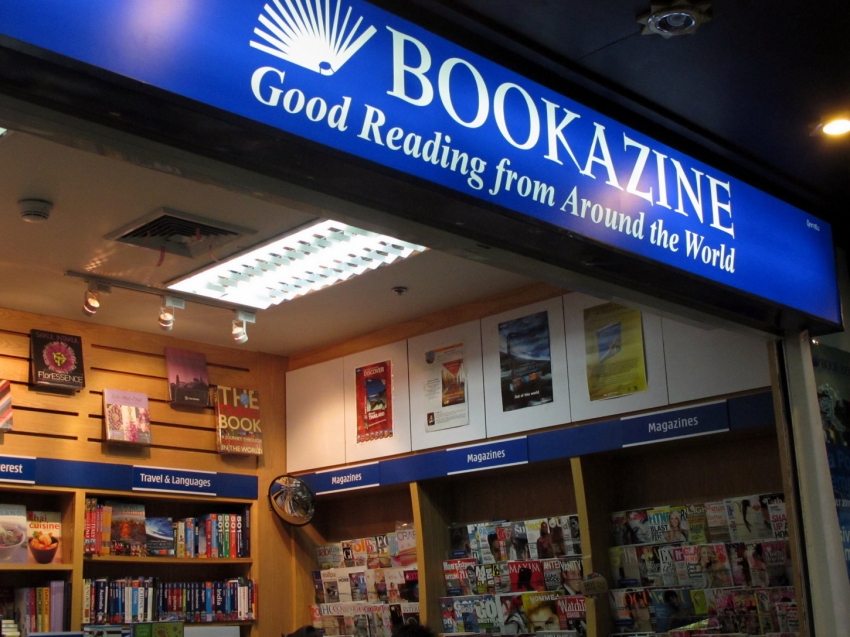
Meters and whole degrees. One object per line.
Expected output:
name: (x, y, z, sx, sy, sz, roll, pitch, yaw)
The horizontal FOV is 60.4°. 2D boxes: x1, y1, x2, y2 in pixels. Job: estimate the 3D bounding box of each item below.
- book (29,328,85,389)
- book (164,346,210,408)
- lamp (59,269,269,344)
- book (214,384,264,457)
book: (-2.661, 0.300, 5.267, 0.379, 0.426, 0.060, 16, -38, -43)
book: (-1.916, 0.481, 5.860, 0.419, 0.572, 0.061, 15, -33, -43)
lamp: (-1.773, -0.012, 5.028, 1.344, 0.390, 0.717, 12, -25, -35)
book: (-1.542, 0.856, 6.023, 0.516, 0.677, 0.073, 14, -29, -42)
